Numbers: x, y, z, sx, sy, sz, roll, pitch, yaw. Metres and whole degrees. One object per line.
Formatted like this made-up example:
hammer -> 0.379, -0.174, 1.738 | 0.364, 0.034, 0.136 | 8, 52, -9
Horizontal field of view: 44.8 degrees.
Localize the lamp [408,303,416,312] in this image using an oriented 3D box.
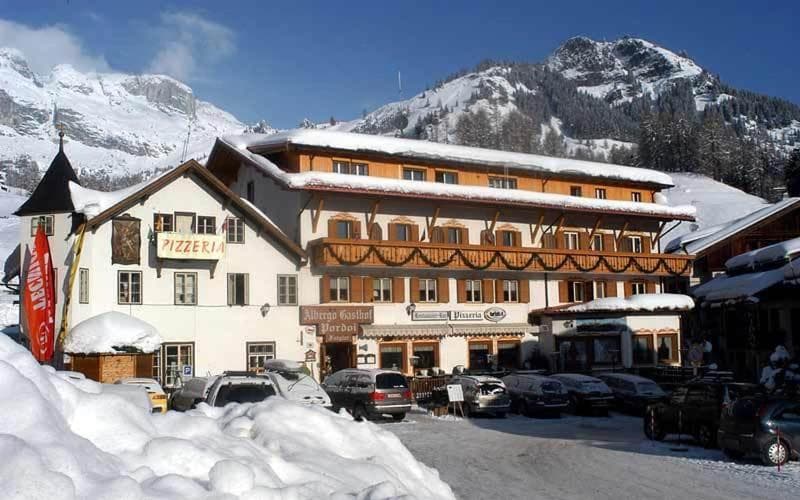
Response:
lamp -> 0.844, 4.030, 68.614 | 0.588, 0.609, 0.468 | 6, -8, -41
